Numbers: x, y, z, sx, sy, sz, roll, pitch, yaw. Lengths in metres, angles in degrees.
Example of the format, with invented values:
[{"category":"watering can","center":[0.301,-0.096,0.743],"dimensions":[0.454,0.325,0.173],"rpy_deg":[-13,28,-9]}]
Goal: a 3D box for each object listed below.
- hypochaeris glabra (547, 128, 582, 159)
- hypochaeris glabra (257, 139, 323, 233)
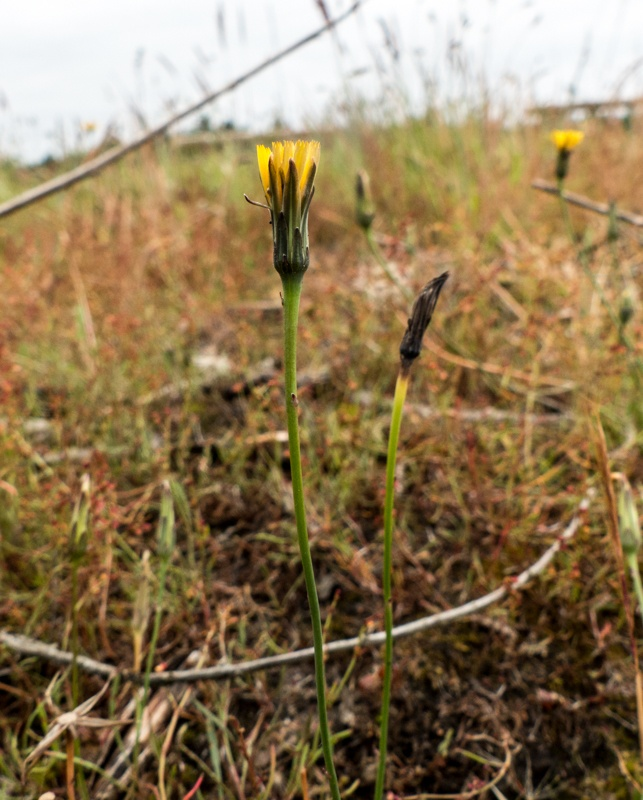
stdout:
[{"category":"hypochaeris glabra","center":[0.578,-0.607,2.037],"dimensions":[0.074,0.061,0.103],"rpy_deg":[-4,30,12]},{"category":"hypochaeris glabra","center":[-0.060,-0.356,1.536],"dimensions":[0.108,0.239,0.122],"rpy_deg":[1,0,-11]}]
